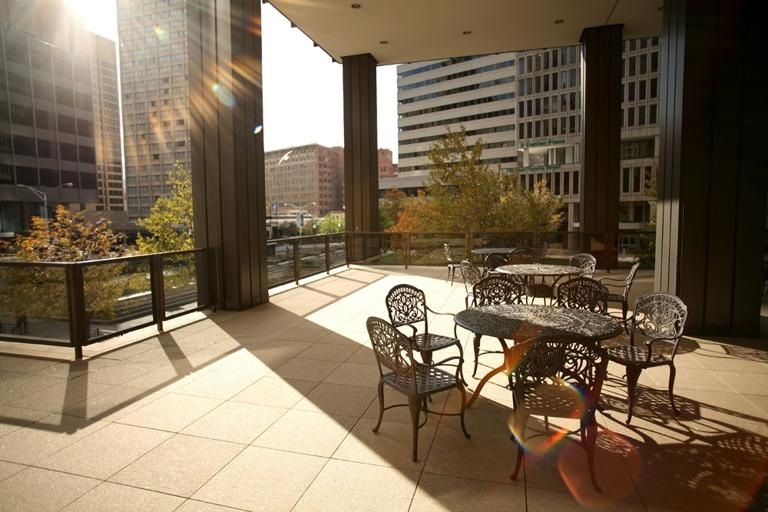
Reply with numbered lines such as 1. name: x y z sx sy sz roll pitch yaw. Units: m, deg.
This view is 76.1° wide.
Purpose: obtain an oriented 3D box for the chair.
1. chair: 2.413 1.369 6.154 3.097 1.774 1.876 -7 11 -38
